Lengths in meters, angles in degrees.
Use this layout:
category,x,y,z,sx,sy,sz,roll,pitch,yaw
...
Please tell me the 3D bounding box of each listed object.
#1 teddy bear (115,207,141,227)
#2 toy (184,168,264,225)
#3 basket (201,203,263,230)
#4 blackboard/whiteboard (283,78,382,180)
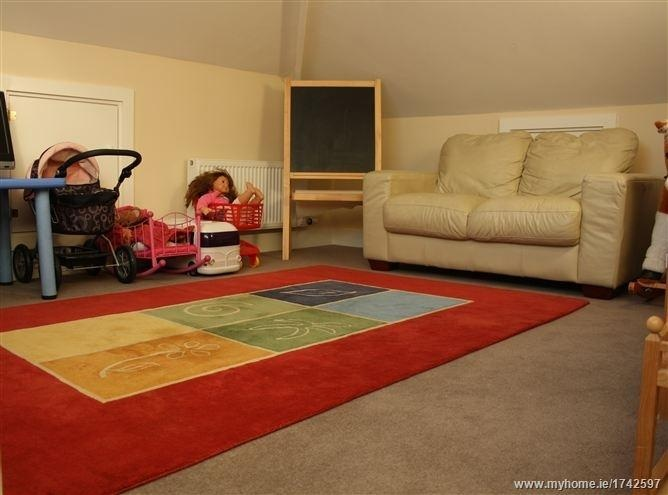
category,x,y,z,sx,sy,sz,roll,pitch,yaw
teddy bear,-1.346,-0.205,3.125,0.121,0.146,0.060,-7,1,-13
toy,-0.882,-0.385,3.628,0.536,0.422,0.434,3,7,22
basket,-0.739,-0.218,3.588,0.221,0.123,0.335,-1,-2,25
blackboard/whiteboard,-0.015,-0.962,3.921,0.961,0.897,0.072,0,0,-3
